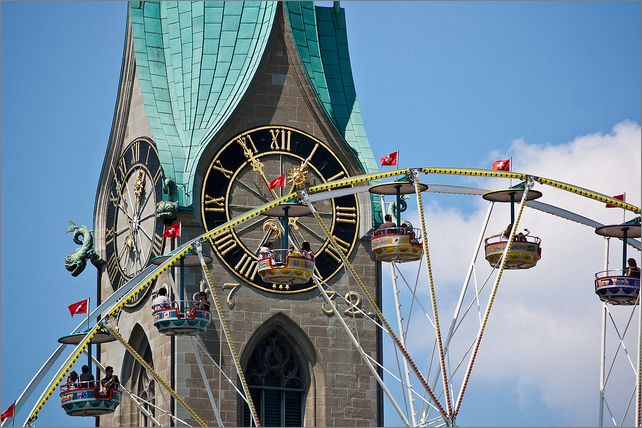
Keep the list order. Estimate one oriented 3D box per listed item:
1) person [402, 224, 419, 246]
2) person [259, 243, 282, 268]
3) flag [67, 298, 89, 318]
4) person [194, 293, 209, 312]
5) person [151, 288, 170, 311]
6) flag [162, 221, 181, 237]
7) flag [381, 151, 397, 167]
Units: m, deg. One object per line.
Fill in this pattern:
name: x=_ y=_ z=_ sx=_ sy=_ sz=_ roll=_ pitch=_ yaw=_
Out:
person: x=3.745 y=1.190 z=82.114 sx=0.614 sy=0.923 sz=0.951 roll=-1 pitch=-56 yaw=6
person: x=-2.021 y=1.872 z=81.349 sx=1.154 sy=0.462 sz=0.900 roll=23 pitch=-20 yaw=-35
flag: x=-10.327 y=4.066 z=81.284 sx=0.736 sy=0.803 sz=0.502 roll=11 pitch=-48 yaw=-7
person: x=-5.039 y=3.818 z=81.725 sx=0.642 sy=0.814 sz=0.859 roll=7 pitch=-7 yaw=-20
person: x=-6.867 y=3.796 z=81.341 sx=0.715 sy=1.039 sz=1.078 roll=3 pitch=-16 yaw=-4
flag: x=-6.565 y=0.786 z=83.626 sx=0.878 sy=0.820 sz=0.067 roll=-3 pitch=-42 yaw=6
flag: x=2.914 y=-2.209 z=83.317 sx=0.610 sy=0.769 sz=0.588 roll=-8 pitch=-49 yaw=10
